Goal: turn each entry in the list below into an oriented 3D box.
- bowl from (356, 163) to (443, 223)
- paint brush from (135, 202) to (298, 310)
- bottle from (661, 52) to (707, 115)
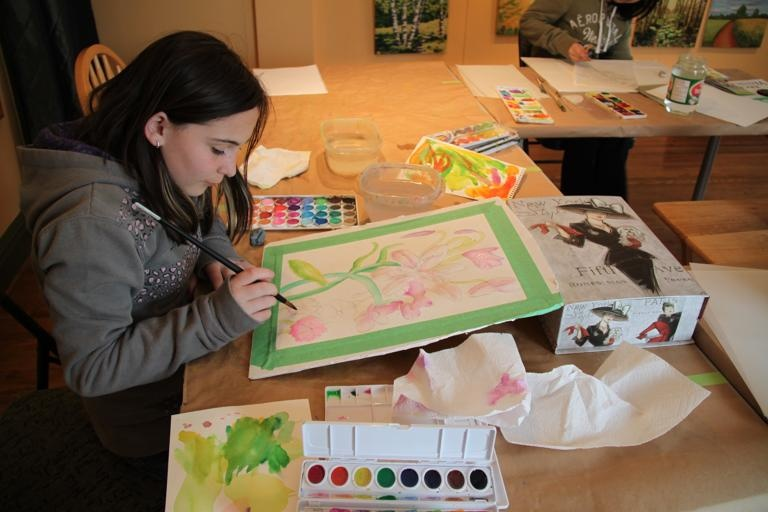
[{"bbox_3d":[0.053,-0.171,1.708,0.236,0.111,0.182,6,45,8],"label":"bowl"},{"bbox_3d":[-0.449,0.008,1.460,0.511,0.027,0.037,32,64,-8],"label":"paint brush"},{"bbox_3d":[1.226,-0.699,2.285,0.145,0.209,0.137,1,30,-1],"label":"bottle"}]
